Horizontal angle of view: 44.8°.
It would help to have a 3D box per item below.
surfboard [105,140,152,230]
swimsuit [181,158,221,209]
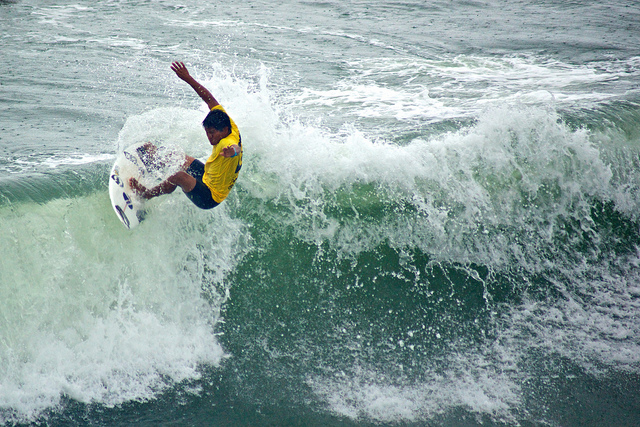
[{"bbox_3d":[-4.504,-0.720,18.235,0.240,1.701,1.787,3,-7,29],"label":"surfboard"},{"bbox_3d":[-2.789,-0.745,18.159,0.714,1.641,0.964,4,67,-4],"label":"swimsuit"}]
